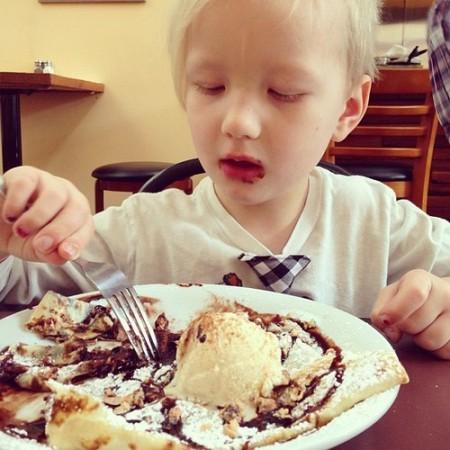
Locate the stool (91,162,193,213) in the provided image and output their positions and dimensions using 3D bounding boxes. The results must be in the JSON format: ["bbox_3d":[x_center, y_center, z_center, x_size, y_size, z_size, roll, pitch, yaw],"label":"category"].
[{"bbox_3d":[-0.437,-0.161,2.586,0.487,0.448,0.425,1,6,3],"label":"stool"}]
